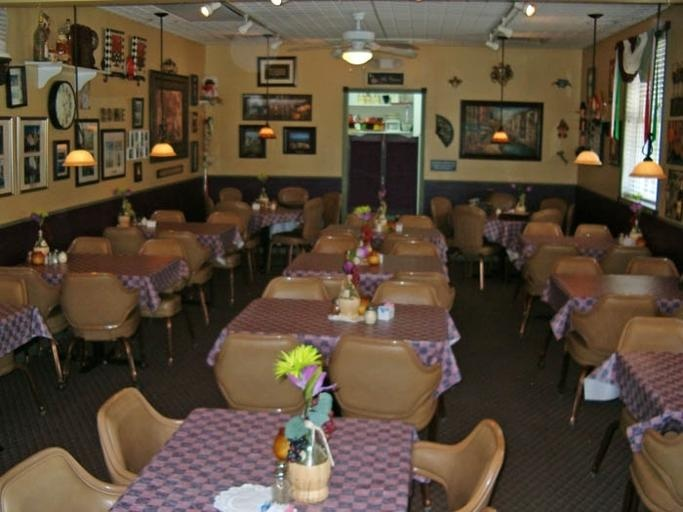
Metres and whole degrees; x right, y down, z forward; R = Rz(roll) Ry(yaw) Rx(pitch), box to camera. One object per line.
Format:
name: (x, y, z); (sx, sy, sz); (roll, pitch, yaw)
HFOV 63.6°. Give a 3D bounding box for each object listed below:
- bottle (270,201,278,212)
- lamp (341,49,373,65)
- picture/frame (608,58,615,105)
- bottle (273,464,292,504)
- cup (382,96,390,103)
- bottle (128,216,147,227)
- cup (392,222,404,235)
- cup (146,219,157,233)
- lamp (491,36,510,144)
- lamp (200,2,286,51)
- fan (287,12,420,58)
bottle: (-1.188, -0.874, 9.545); (0.145, 0.251, 0.148); (2, 0, 0)
lamp: (0.183, -2.320, 6.353); (0.309, 0.144, 0.366); (2, 13, 5)
picture/frame: (4.375, -2.846, 8.935); (0.092, 0.701, 0.586); (6, 14, 23)
bottle: (-0.244, 0.889, 2.237); (0.074, 0.136, 0.188); (-1, 13, -6)
cup: (0.971, -3.393, 11.968); (0.145, 0.185, 0.152); (0, 10, 0)
bottle: (-2.890, -0.491, 7.887); (0.267, 0.181, 0.276); (3, 12, -1)
cup: (0.782, -0.387, 7.381); (0.154, 0.178, 0.153); (1, 11, 0)
cup: (-2.595, -0.410, 7.513); (0.177, 0.130, 0.101); (2, 21, 3)
lamp: (2.993, -3.045, 10.306); (0.414, 1.850, 1.347); (4, 13, 15)
lamp: (-1.479, -3.537, 8.680); (0.996, 0.373, 3.220); (1, 13, -1)
fan: (0.221, -3.501, 8.645); (1.379, 0.588, 1.578); (9, 13, 17)
